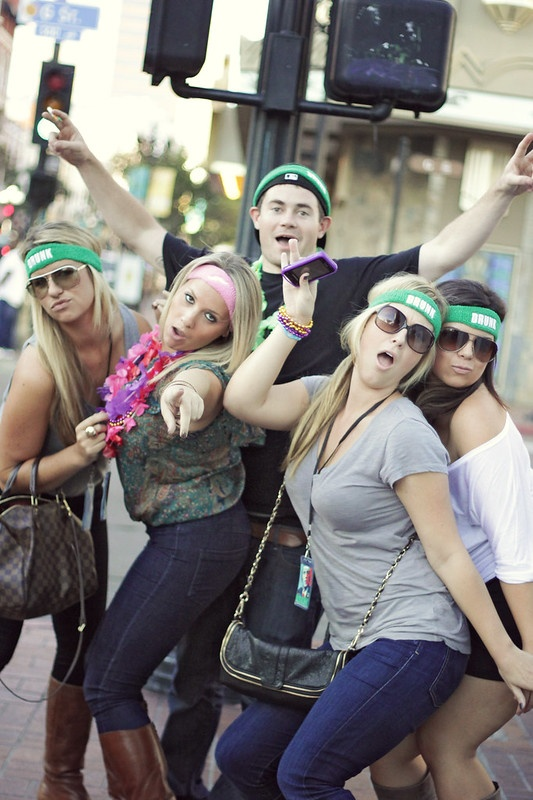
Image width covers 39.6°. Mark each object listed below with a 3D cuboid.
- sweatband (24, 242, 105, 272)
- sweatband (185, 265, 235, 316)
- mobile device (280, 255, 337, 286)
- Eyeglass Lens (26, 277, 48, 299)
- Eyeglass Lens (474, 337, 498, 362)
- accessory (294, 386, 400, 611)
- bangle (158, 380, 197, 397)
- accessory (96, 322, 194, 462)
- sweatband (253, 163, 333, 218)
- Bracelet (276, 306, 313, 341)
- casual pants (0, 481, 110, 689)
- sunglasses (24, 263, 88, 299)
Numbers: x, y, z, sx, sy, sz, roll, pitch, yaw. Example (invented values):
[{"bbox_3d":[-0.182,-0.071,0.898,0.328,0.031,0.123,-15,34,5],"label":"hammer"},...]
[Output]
[{"bbox_3d":[-0.701,-0.495,2.545,0.159,0.054,0.147,0,0,-4],"label":"sweatband"},{"bbox_3d":[-0.170,-0.346,2.324,0.174,0.141,0.068,20,13,31],"label":"sweatband"},{"bbox_3d":[0.123,-0.364,2.054,0.138,0.030,0.081,-20,-43,33],"label":"mobile device"},{"bbox_3d":[-0.758,-0.376,2.512,0.077,0.072,0.034,-2,-43,40],"label":"Eyeglass Lens"},{"bbox_3d":[0.647,-0.155,2.237,0.080,0.032,0.076,13,14,-37],"label":"Eyeglass Lens"},{"bbox_3d":[0.237,0.273,2.073,0.316,0.538,0.579,15,11,10],"label":"accessory"},{"bbox_3d":[-0.235,-0.041,2.044,0.060,0.022,0.050,24,13,-40],"label":"bangle"},{"bbox_3d":[-0.423,-0.053,2.374,0.156,0.427,0.314,43,-33,-15],"label":"accessory"},{"bbox_3d":[0.061,-0.796,2.896,0.266,0.211,0.105,-6,46,-38],"label":"sweatband"},{"bbox_3d":[0.078,-0.219,2.136,0.095,0.088,0.051,13,12,-7],"label":"Bracelet"},{"bbox_3d":[-0.750,0.641,2.637,0.447,0.697,0.185,-1,-4,5],"label":"casual pants"},{"bbox_3d":[-0.718,-0.405,2.464,0.149,0.050,0.136,-21,7,7],"label":"sunglasses"}]
